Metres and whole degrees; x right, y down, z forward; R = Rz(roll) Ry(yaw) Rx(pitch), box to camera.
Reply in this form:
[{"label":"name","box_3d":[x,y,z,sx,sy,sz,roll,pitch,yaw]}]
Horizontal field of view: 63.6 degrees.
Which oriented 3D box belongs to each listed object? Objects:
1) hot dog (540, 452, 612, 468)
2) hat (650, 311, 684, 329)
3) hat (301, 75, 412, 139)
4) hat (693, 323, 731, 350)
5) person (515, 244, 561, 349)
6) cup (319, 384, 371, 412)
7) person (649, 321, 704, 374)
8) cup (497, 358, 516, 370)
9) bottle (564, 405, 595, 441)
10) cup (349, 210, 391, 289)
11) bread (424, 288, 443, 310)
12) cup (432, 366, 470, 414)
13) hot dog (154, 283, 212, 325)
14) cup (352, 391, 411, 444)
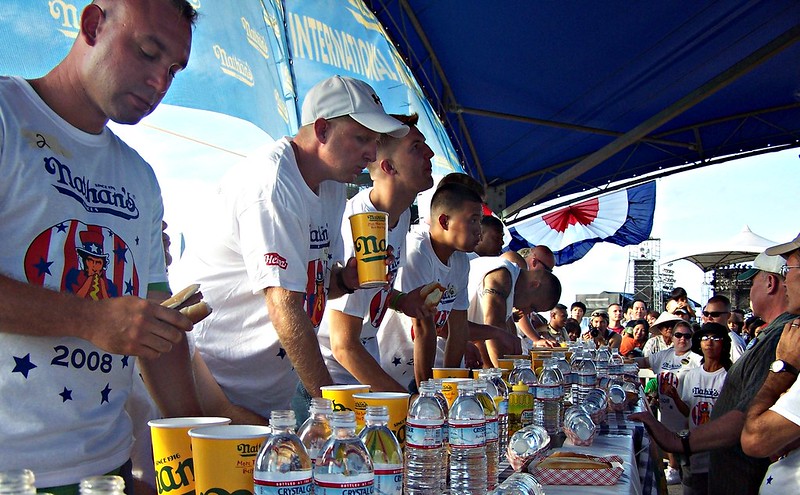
[{"label":"hot dog","box_3d":[0.829,1.009,3.076,0.335,0.054,0.190,-1,-9,11]},{"label":"hat","box_3d":[4.783,1.307,11.628,0.380,0.171,0.401,-2,-22,-2]},{"label":"hat","box_3d":[-0.274,-0.772,3.552,0.491,0.274,0.328,0,5,1]},{"label":"hat","box_3d":[3.521,0.952,7.252,0.343,0.447,0.141,-4,-6,37]},{"label":"person","box_3d":[1.574,0.597,7.458,0.471,0.432,1.273,21,8,-4]},{"label":"cup","box_3d":[-0.250,0.616,2.723,0.124,0.102,0.133,1,-10,0]},{"label":"person","box_3d":[3.652,1.242,8.457,0.677,0.212,0.746,9,26,16]},{"label":"cup","box_3d":[0.654,0.720,4.027,0.067,0.053,0.062,1,-3,0]},{"label":"bottle","box_3d":[0.990,0.985,3.621,0.116,0.074,0.203,0,20,3]},{"label":"cup","box_3d":[-0.158,0.002,3.633,0.327,0.510,0.344,-3,1,0]},{"label":"bread","box_3d":[0.196,0.300,3.862,0.117,0.083,0.031,-48,-14,20]},{"label":"cup","box_3d":[0.245,0.670,3.140,0.158,0.178,0.171,1,-5,0]},{"label":"hot dog","box_3d":[-0.917,0.276,2.831,0.255,0.073,0.250,-28,14,-40]},{"label":"cup","box_3d":[-0.076,0.674,2.672,0.208,0.243,0.220,0,-6,0]}]
